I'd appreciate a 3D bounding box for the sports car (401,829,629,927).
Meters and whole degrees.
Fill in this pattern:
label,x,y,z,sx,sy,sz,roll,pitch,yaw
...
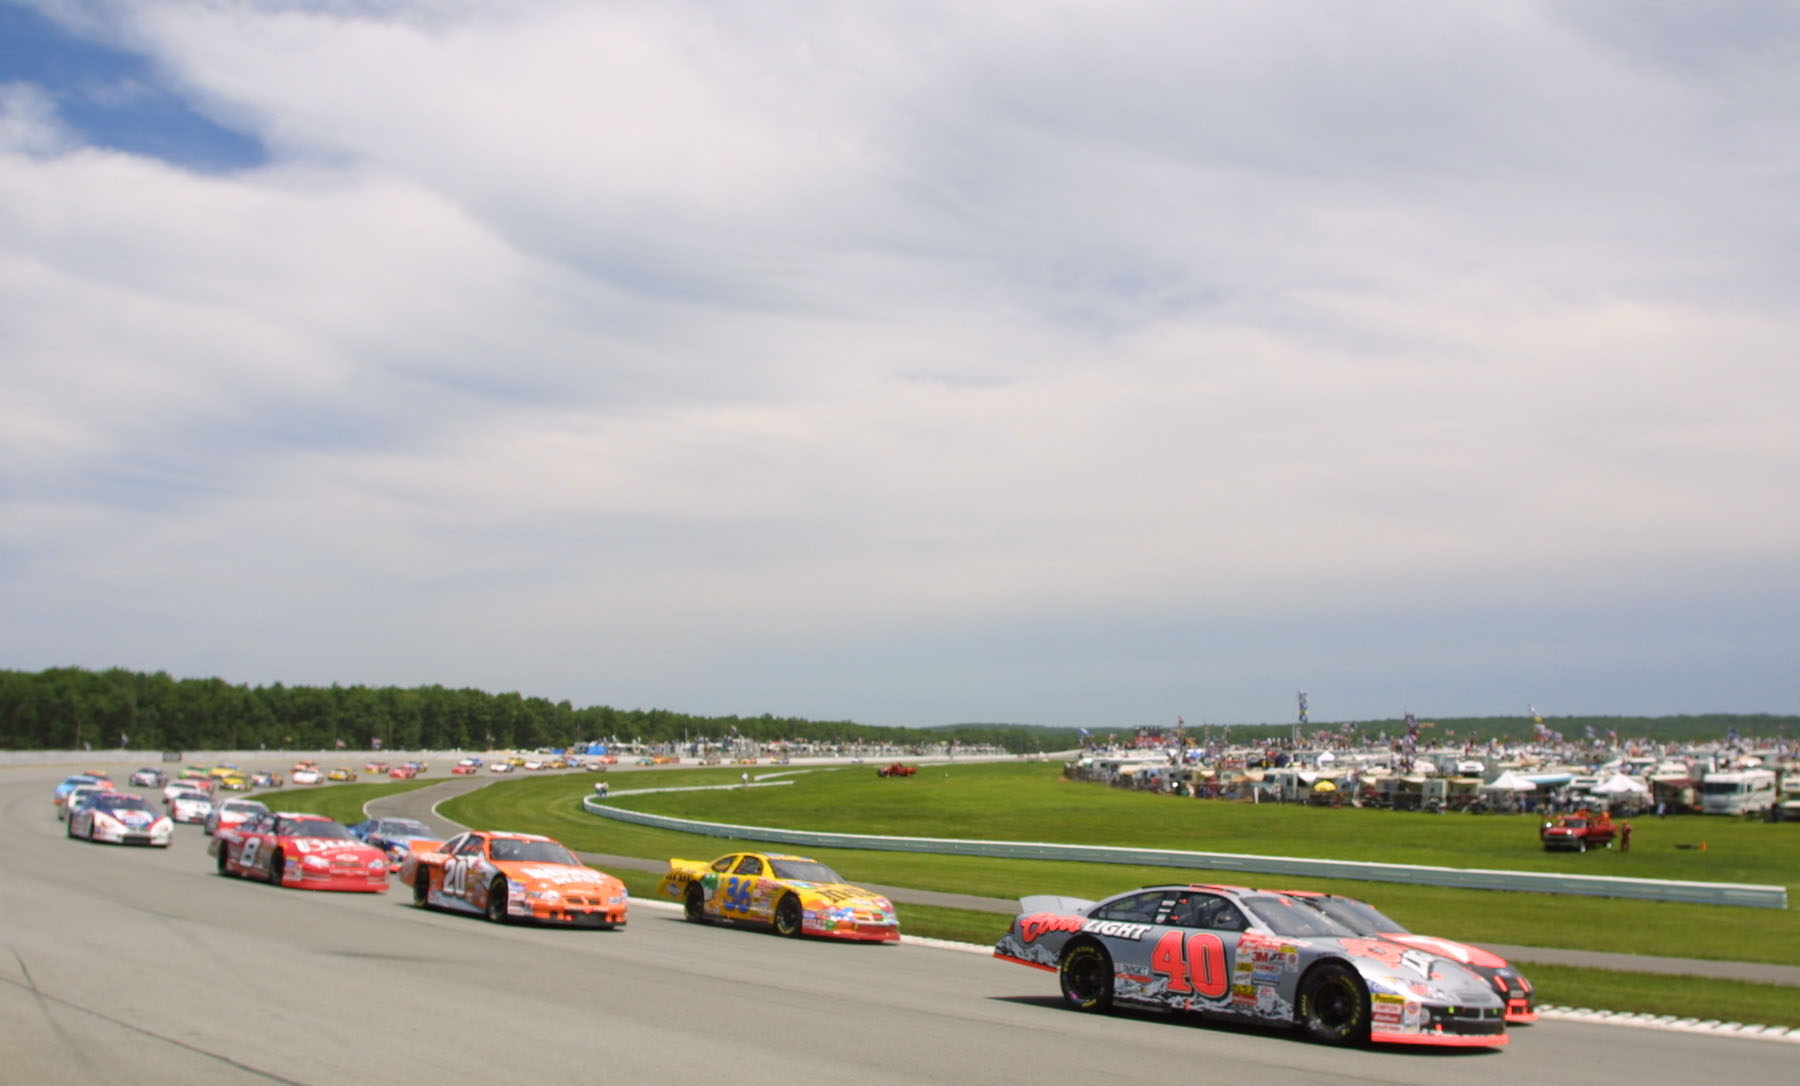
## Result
label,x,y,z,sx,sy,sz,roll,pitch,yaw
sports car,-9.995,8.706,39.397,6.582,1.686,3.631,-3,-12,45

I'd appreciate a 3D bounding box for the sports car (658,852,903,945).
label,x,y,z,sx,sy,sz,roll,pitch,yaw
sports car,-3.075,9.153,38.855,6.115,1.981,1.597,-5,-12,38
